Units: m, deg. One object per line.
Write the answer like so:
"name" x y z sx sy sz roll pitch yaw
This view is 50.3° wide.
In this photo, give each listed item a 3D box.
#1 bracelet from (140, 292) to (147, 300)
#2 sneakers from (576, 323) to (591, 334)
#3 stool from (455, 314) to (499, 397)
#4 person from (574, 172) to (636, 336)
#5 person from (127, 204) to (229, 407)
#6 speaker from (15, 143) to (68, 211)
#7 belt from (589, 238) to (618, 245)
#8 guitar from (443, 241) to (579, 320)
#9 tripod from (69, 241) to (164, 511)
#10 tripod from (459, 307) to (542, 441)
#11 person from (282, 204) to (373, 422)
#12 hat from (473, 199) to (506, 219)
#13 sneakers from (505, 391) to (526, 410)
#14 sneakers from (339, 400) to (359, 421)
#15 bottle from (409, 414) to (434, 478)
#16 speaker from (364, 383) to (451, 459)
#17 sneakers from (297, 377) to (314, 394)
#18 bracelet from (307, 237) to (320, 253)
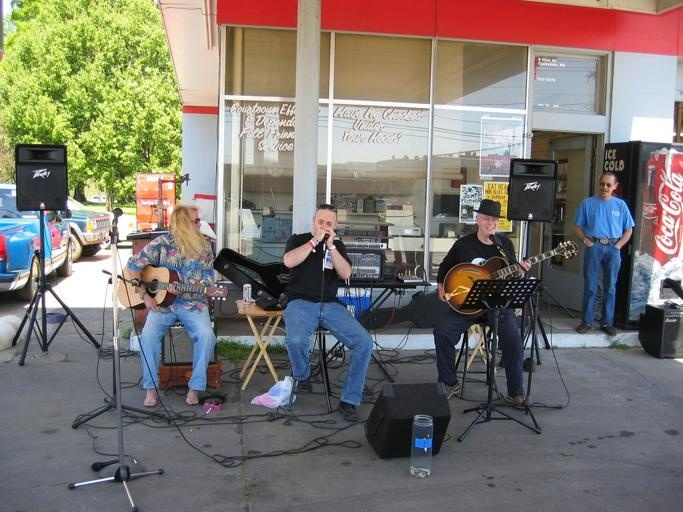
"bracelet" -1.900 0.372 6.915 0.053 0.063 0.022 0 -10 4
"sneakers" 3.049 0.903 9.106 0.215 0.087 0.088 4 -3 -43
"stool" 1.545 1.023 7.877 0.356 0.565 0.369 -14 -18 34
"person" 3.301 -0.031 9.071 0.710 1.984 0.397 1 8 7
"person" -1.636 0.484 7.116 0.932 1.972 0.785 1 9 -20
"speaker" -3.452 -0.914 8.288 0.711 1.069 0.542 0 3 -27
"belt" 3.247 -0.188 8.998 0.304 0.083 0.067 0 9 4
"guitar" 1.496 0.119 7.035 1.511 0.613 0.178 -23 -14 13
"tripod" -1.966 0.817 6.301 0.707 1.972 2.062 -3 9 -15
"tripod" 1.469 1.018 7.168 0.977 1.459 1.051 0 5 16
"person" -0.137 0.494 7.051 0.920 1.953 0.744 1 9 12
"hat" 1.486 -0.477 7.332 0.211 0.105 0.265 15 15 -7
"sneakers" 1.727 1.421 7.137 0.092 0.102 0.211 -3 2 -32
"sneakers" 0.072 1.458 6.824 0.092 0.173 0.240 2 -6 -25
"bottle" 0.666 1.562 6.018 0.190 0.481 0.167 1 8 6
"speaker" 0.566 1.329 6.260 0.622 0.609 0.632 2 -4 -14
"sneakers" -0.362 1.291 7.296 0.142 0.167 0.144 1 1 -15
"bracelet" -0.265 -0.117 7.073 0.096 0.126 0.079 5 -5 -13
